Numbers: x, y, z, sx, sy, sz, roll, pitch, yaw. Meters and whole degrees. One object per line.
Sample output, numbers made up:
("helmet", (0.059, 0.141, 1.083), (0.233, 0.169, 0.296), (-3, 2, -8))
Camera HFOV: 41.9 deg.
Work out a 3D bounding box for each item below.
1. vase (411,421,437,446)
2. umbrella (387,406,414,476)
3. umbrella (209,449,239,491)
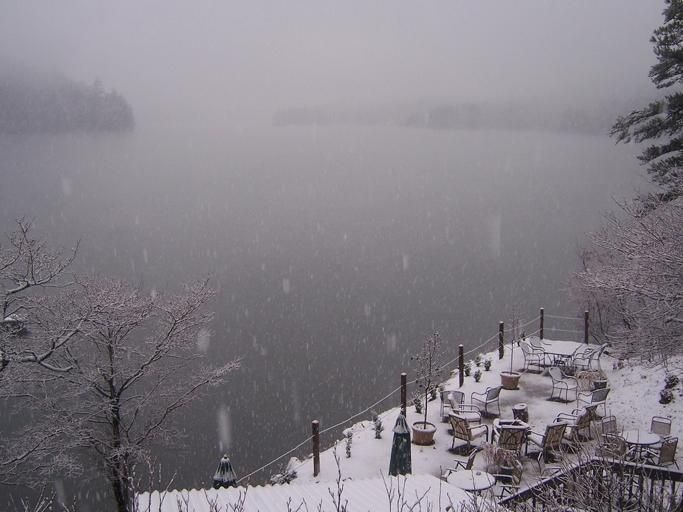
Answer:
("vase", (2.936, 6.433, 32.061), (0.847, 0.832, 0.754), (-6, -7, 5))
("umbrella", (2.003, 6.366, 30.302), (0.791, 2.281, 0.859), (-6, 20, -21))
("umbrella", (-3.732, 6.979, 28.907), (0.945, 1.175, 0.698), (4, 24, 0))
